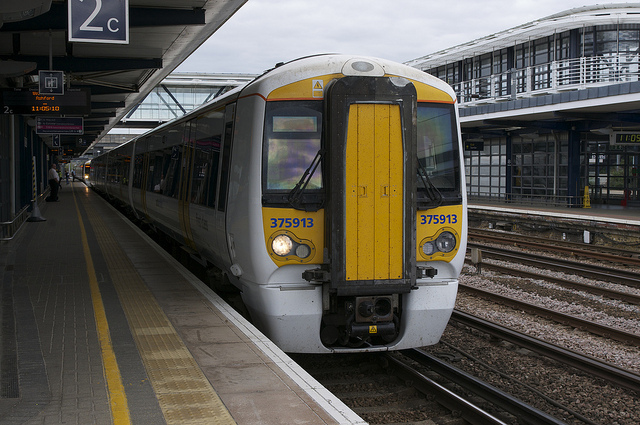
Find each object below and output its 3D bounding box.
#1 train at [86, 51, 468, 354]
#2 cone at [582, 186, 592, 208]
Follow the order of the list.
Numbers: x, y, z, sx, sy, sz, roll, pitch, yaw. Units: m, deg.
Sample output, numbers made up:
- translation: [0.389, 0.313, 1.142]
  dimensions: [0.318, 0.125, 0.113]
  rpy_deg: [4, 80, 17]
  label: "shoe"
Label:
- translation: [-2.289, -0.553, 12.105]
  dimensions: [2.661, 3.617, 14.107]
  rpy_deg: [0, 3, -19]
  label: "train"
- translation: [15.342, -0.906, 25.976]
  dimensions: [0.404, 1.185, 1.385]
  rpy_deg: [2, 5, 31]
  label: "cone"
